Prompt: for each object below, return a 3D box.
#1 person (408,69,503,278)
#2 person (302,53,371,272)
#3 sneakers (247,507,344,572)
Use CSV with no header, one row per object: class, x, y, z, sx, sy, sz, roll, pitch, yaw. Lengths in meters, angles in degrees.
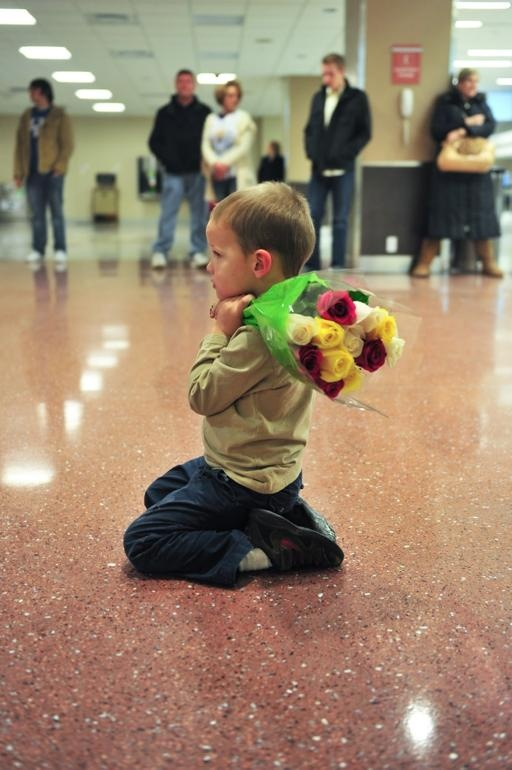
person,1.440,-1.464,4.814,0.595,1.410,0.384,4,14,11
person,0.514,-1.431,4.534,0.450,1.300,0.340,12,20,27
sneakers,0.061,0.216,0.980,0.130,0.073,0.061,1,10,22
